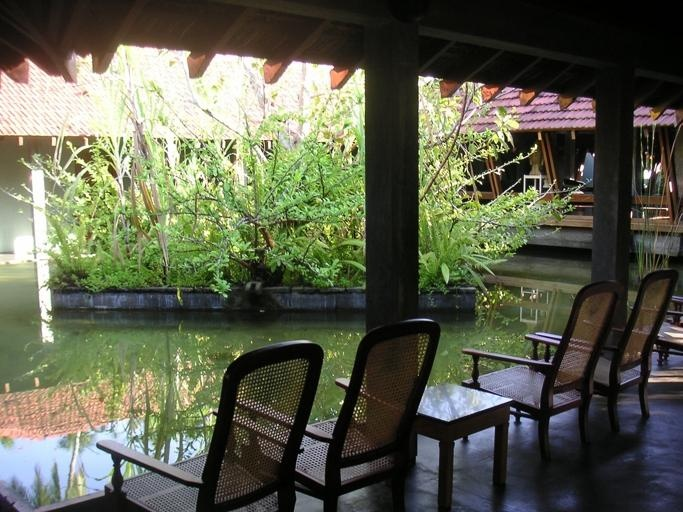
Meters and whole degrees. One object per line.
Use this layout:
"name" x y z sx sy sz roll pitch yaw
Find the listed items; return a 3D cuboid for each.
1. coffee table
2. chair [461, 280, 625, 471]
"coffee table" 0.697 1.044 3.042 0.562 0.451 0.561 -1 3 -37
"chair" 1.506 0.633 3.892 1.063 1.698 1.082 -1 9 -43
